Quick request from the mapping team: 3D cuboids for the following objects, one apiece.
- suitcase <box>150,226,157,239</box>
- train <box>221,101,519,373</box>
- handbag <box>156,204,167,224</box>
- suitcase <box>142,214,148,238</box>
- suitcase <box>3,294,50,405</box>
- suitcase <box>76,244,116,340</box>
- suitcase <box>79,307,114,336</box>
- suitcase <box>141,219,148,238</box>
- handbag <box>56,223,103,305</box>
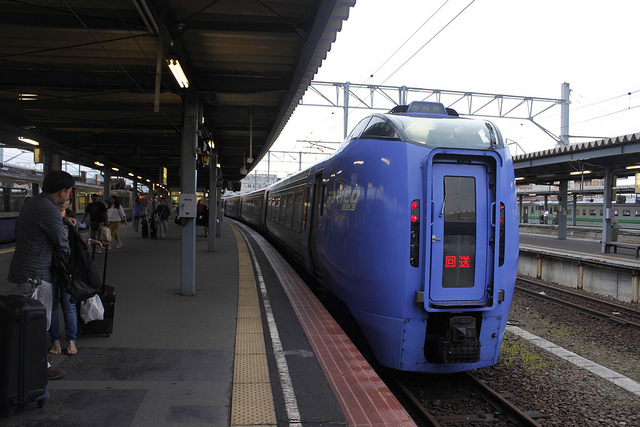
[{"bbox_3d":[-7.365,0.808,20.513,0.240,0.627,0.493,-2,8,-26],"label":"suitcase"},{"bbox_3d":[1.597,0.577,7.816,3.149,4.548,1.456,5,8,24],"label":"train"},{"bbox_3d":[-7.098,-0.047,20.588,0.594,0.810,0.257,6,9,33],"label":"handbag"},{"bbox_3d":[-7.985,0.775,21.137,0.212,0.613,0.428,-2,8,-25],"label":"suitcase"},{"bbox_3d":[-3.538,1.640,5.553,0.437,1.281,0.280,-1,8,-20],"label":"suitcase"},{"bbox_3d":[-3.609,1.204,7.436,0.551,1.573,1.438,-2,8,-25],"label":"suitcase"},{"bbox_3d":[-3.521,1.637,7.440,0.584,0.582,0.340,2,-3,-20],"label":"suitcase"},{"bbox_3d":[-7.975,0.663,21.112,0.188,0.843,0.402,-2,8,-21],"label":"suitcase"},{"bbox_3d":[-3.286,0.712,6.467,0.457,1.080,0.497,0,-8,7],"label":"handbag"}]
